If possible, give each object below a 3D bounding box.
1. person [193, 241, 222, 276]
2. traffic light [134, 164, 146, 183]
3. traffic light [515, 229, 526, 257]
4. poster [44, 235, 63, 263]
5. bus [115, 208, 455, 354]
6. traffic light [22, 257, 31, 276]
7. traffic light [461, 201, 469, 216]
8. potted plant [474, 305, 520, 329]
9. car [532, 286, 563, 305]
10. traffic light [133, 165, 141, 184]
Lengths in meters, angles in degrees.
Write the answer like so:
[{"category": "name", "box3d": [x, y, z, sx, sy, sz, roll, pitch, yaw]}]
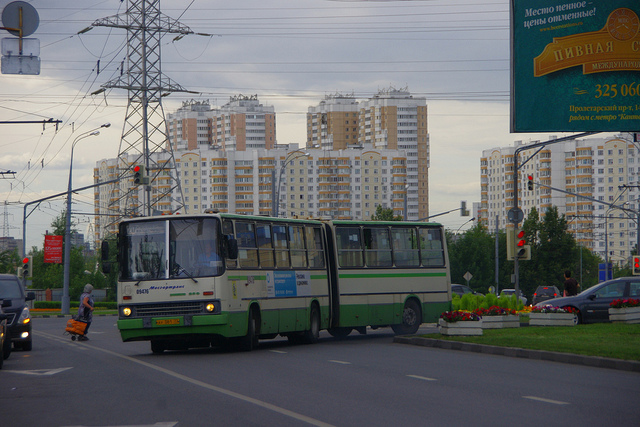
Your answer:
[{"category": "person", "box3d": [-3.486, 1.426, 32.399, 0.829, 1.200, 2.550, 0, -6, -2]}, {"category": "traffic light", "box3d": [-8.329, -1.861, 47.556, 0.379, 0.898, 0.843, 1, -3, 20]}, {"category": "traffic light", "box3d": [8.552, 1.255, 44.605, 0.463, 1.170, 0.909, 1, -3, 10]}, {"category": "poster", "box3d": [-19.543, 2.497, 76.093, 1.072, 1.944, 3.222, 2, -3, -10]}, {"category": "bus", "box3d": [-0.718, 2.451, 38.670, 3.718, 4.106, 15.050, -7, -6, 34]}, {"category": "traffic light", "box3d": [-18.130, 3.211, 64.227, 0.460, 1.090, 0.641, 2, -3, -14]}, {"category": "traffic light", "box3d": [9.515, -0.340, 68.880, 0.409, 0.902, 1.560, 1, -3, 8]}, {"category": "potted plant", "box3d": [6.551, 3.775, 38.189, 1.188, 0.392, 1.088, -1, -2, 44]}, {"category": "car", "box3d": [15.258, 5.948, 70.194, 1.846, 1.698, 3.922, 0, 2, 17]}, {"category": "traffic light", "box3d": [-8.335, -1.827, 47.468, 0.300, 0.837, 0.643, 2, -3, -14]}]
